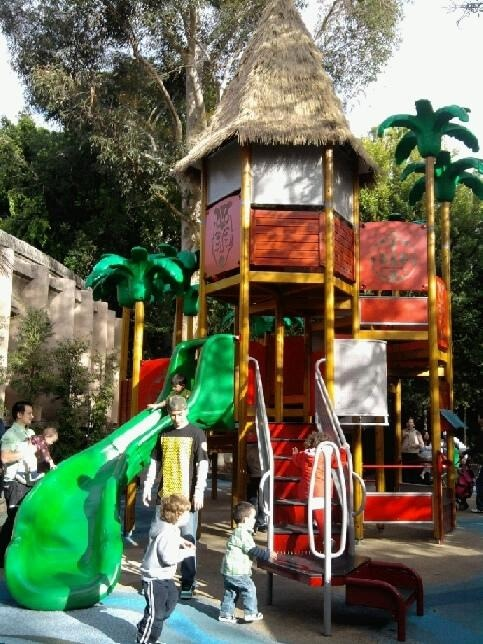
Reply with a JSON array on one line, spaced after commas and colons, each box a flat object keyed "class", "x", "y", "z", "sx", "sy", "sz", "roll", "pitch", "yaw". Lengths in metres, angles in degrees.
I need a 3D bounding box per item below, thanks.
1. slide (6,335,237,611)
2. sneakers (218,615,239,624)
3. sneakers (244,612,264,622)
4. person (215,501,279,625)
[{"class": "slide", "x": -1.012, "y": 1.500, "z": 5.968, "sx": 0.937, "sy": 1.191, "sz": 4.154, "roll": -4, "pitch": 14, "yaw": 15}, {"class": "sneakers", "x": -0.088, "y": 1.902, "z": 3.733, "sx": 0.112, "sy": 0.053, "sz": 0.042, "roll": 2, "pitch": -8, "yaw": -8}, {"class": "sneakers", "x": 0.075, "y": 1.898, "z": 3.752, "sx": 0.052, "sy": 0.070, "sz": 0.144, "roll": -13, "pitch": -23, "yaw": 39}, {"class": "person", "x": 0.035, "y": 1.577, "z": 3.871, "sx": 0.274, "sy": 0.746, "sz": 0.413, "roll": -3, "pitch": -13, "yaw": 27}]
